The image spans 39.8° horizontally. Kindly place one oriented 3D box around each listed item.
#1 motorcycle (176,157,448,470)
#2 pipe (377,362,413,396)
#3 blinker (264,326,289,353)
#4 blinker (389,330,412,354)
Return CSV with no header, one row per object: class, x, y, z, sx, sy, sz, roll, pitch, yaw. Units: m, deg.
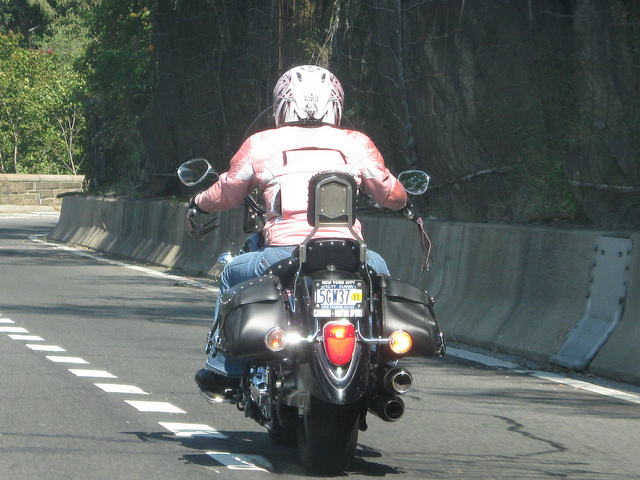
motorcycle,-0.012,0.455,6.687,1.485,1.908,2.920,0,6,-8
pipe,0.446,0.876,5.562,0.169,0.180,0.313,-1,5,-22
blinker,-0.275,0.614,5.444,0.130,0.151,0.083,1,-2,3
blinker,0.494,0.634,5.491,0.119,0.137,0.040,2,-5,-13
